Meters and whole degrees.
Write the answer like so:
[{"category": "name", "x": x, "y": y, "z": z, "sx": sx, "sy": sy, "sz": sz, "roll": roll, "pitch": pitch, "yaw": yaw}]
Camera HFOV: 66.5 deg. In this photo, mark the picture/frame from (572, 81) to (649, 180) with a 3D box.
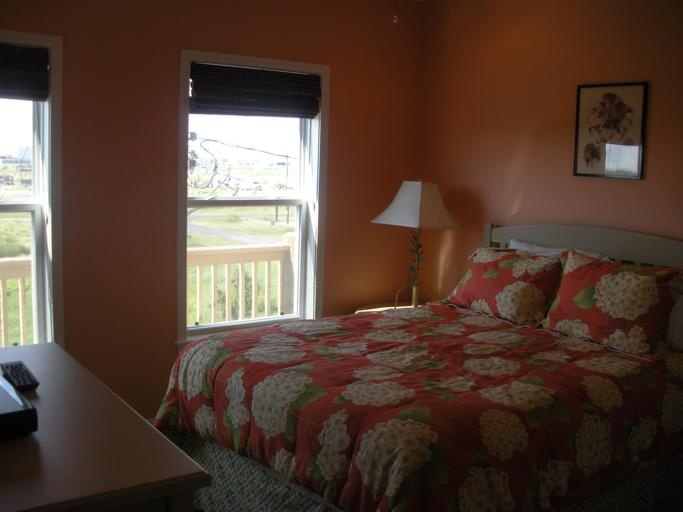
[{"category": "picture/frame", "x": 1.763, "y": -0.818, "z": 3.383, "sx": 0.030, "sy": 0.864, "sz": 0.570, "roll": -1, "pitch": 6, "yaw": -41}]
